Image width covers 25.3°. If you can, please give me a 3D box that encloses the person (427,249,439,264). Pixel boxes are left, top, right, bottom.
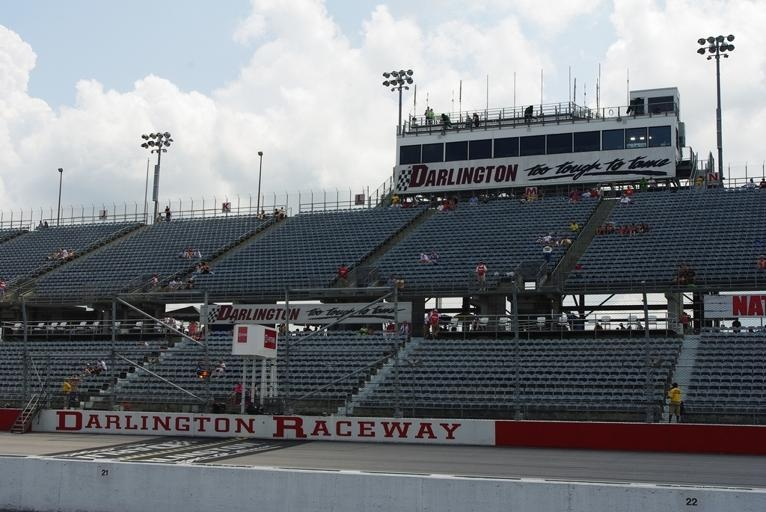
[{"bbox_3d":[2.508,0.078,82.125,0.670,0.509,0.957,-5,3,13],"label":"person"}]

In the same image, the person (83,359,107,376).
[{"bbox_3d":[-12.694,5.049,76.509,1.116,0.514,0.614,-14,-20,22],"label":"person"}]

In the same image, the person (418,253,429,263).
[{"bbox_3d":[2.150,0.120,82.197,0.537,0.505,1.001,1,-5,1],"label":"person"}]

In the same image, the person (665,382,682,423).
[{"bbox_3d":[11.837,5.905,68.723,0.563,1.534,1.065,0,-5,9],"label":"person"}]

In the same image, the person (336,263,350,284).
[{"bbox_3d":[-1.807,0.895,82.456,0.609,0.921,1.315,1,-5,-2],"label":"person"}]

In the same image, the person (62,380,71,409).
[{"bbox_3d":[-13.490,5.985,73.771,0.346,1.197,0.790,2,-5,-9],"label":"person"}]
